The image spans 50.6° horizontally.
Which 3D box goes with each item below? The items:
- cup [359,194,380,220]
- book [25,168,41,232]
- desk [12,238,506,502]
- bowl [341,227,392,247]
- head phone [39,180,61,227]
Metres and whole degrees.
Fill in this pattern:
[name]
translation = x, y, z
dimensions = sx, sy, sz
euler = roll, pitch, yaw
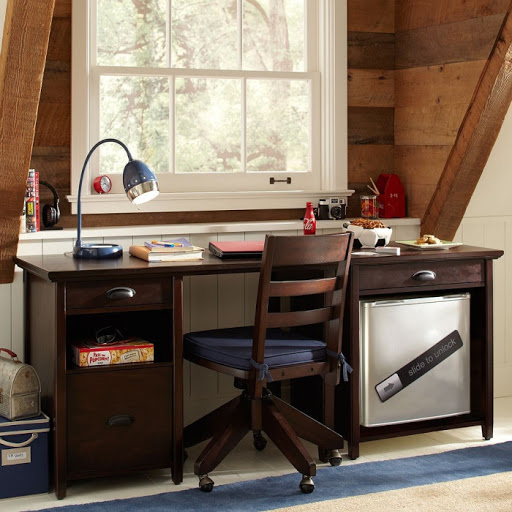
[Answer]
[cup]
translation = 0.627, -0.271, 2.992
dimensions = 0.097, 0.132, 0.159
euler = 0, 9, 12
[book]
translation = -0.939, -0.227, 2.256
dimensions = 0.043, 0.254, 0.096
euler = 0, 10, 13
[desk]
translation = 0.093, 0.391, 2.266
dimensions = 2.032, 0.906, 0.949
euler = -4, 9, -15
[bowl]
translation = 0.512, -0.081, 2.405
dimensions = 0.168, 0.071, 0.130
euler = -1, 2, 9
[head phone]
translation = -0.904, -0.225, 2.340
dimensions = 0.078, 0.234, 0.196
euler = -4, 8, -39
